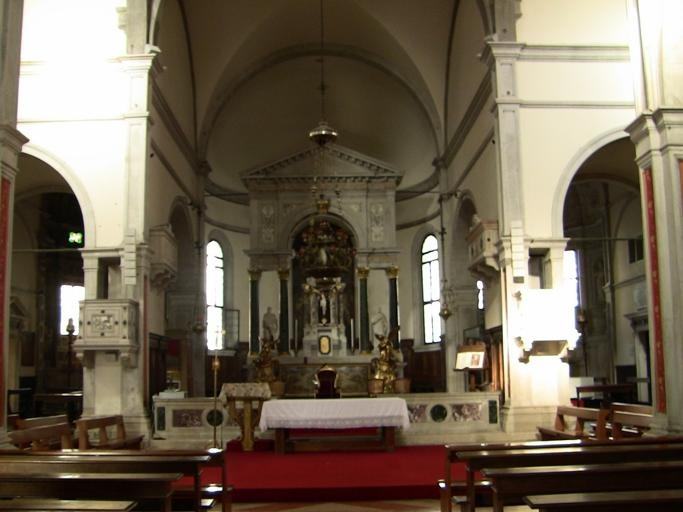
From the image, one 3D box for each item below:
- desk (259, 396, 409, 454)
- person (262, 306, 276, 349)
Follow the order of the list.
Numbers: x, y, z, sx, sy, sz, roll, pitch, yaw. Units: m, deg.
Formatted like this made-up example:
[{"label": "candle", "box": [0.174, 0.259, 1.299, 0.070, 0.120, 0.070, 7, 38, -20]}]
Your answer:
[{"label": "desk", "box": [-0.122, 2.792, 12.117, 2.336, 0.977, 0.891, -1, -1, 1]}, {"label": "person", "box": [-1.884, 1.826, 19.115, 0.385, 1.071, 0.252, 2, 21, 1]}]
